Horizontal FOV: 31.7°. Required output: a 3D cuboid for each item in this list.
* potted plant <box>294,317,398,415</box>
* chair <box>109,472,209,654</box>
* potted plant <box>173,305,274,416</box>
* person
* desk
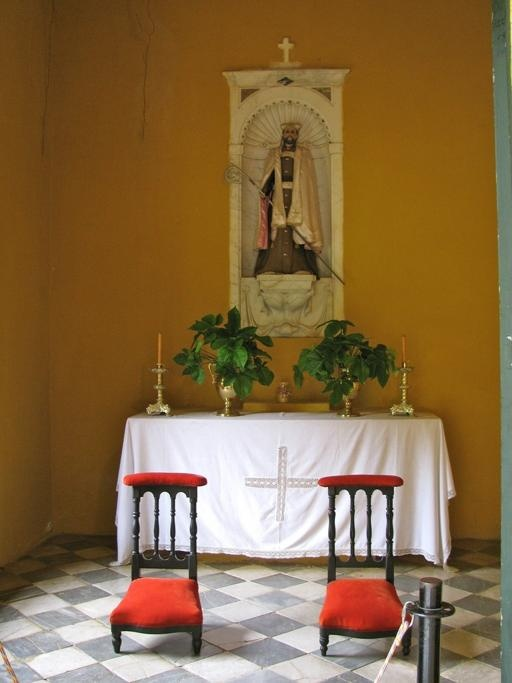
[{"bbox_3d":[0.493,0.124,5.324,0.541,0.448,0.549,-2,4,-11],"label":"potted plant"},{"bbox_3d":[-0.427,0.962,3.888,0.401,0.716,0.453,0,5,-3],"label":"chair"},{"bbox_3d":[-0.240,0.087,5.338,0.634,0.655,0.566,-3,6,-37],"label":"potted plant"},{"bbox_3d":[0.201,-0.927,5.925,0.449,0.995,0.311,0,5,1],"label":"person"},{"bbox_3d":[0.190,0.863,5.225,1.858,0.772,0.658,-2,-7,21],"label":"desk"}]
